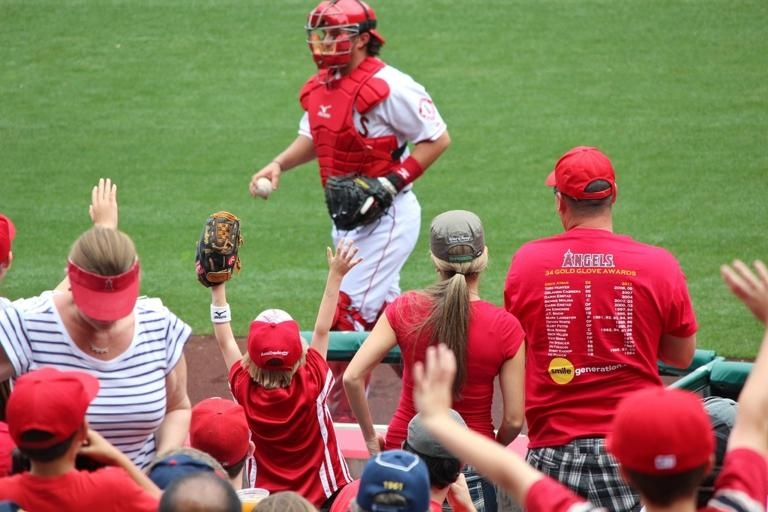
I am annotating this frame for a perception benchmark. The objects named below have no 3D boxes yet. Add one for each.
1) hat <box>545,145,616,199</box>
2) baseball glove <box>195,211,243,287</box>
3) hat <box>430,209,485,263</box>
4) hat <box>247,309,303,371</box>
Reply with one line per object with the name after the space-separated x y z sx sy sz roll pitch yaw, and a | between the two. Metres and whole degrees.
1.652 -0.699 12.264 0.404 0.293 0.524 -8 26 -12 | hat
-1.476 -0.051 12.662 0.482 0.598 0.342 2 -12 35 | baseball glove
0.583 -0.147 12.272 0.400 0.239 0.484 -2 27 0 | hat
-0.919 0.697 12.190 0.397 0.469 0.183 0 -24 -4 | hat
